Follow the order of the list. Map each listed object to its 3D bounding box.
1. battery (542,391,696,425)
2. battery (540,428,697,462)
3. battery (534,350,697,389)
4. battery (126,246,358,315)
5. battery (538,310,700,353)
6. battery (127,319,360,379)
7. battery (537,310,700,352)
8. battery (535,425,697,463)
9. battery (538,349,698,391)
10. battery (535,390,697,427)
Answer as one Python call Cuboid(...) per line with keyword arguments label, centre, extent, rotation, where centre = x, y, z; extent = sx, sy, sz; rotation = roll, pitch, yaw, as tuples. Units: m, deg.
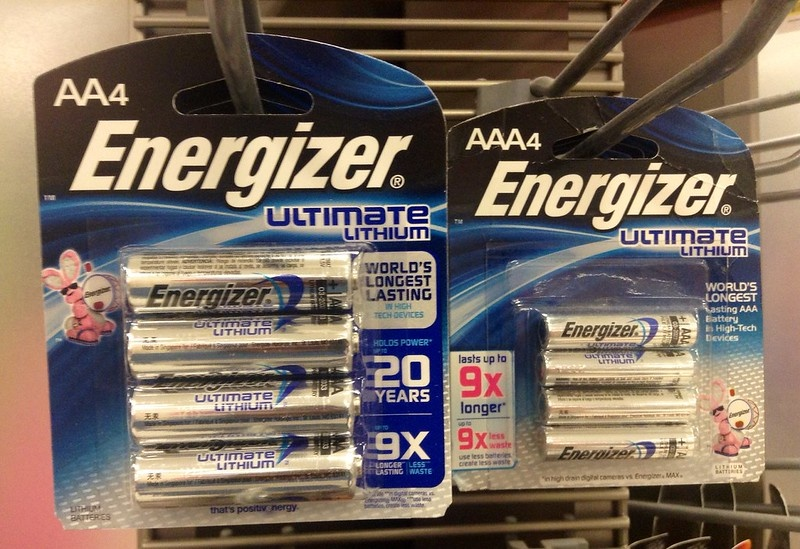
Cuboid(label="battery", centre=(0.589, 0.354, 2.297), extent=(0.530, 0.109, 0.125), rotation=(0, -3, -2))
Cuboid(label="battery", centre=(0.593, 0.457, 2.272), extent=(0.435, 0.091, 0.098), rotation=(1, 23, -9))
Cuboid(label="battery", centre=(0.570, 0.250, 2.250), extent=(0.516, 0.110, 0.127), rotation=(0, -8, -2))
Cuboid(label="battery", centre=(-0.406, 0.029, 2.177), extent=(0.598, 0.142, 0.145), rotation=(-1, 25, -9))
Cuboid(label="battery", centre=(0.595, 0.155, 2.312), extent=(0.545, 0.112, 0.127), rotation=(0, -2, -2))
Cuboid(label="battery", centre=(-0.399, 0.187, 2.170), extent=(0.588, 0.123, 0.146), rotation=(-1, 18, -7))
Cuboid(label="battery", centre=(0.572, 0.153, 2.312), extent=(0.548, 0.113, 0.127), rotation=(-1, -1, -2))
Cuboid(label="battery", centre=(0.585, 0.449, 2.300), extent=(0.523, 0.108, 0.123), rotation=(0, 2, -1))
Cuboid(label="battery", centre=(0.514, 0.251, 2.242), extent=(0.517, 0.110, 0.127), rotation=(0, -6, -2))
Cuboid(label="battery", centre=(0.591, 0.352, 2.299), extent=(0.526, 0.108, 0.126), rotation=(0, -1, -3))
